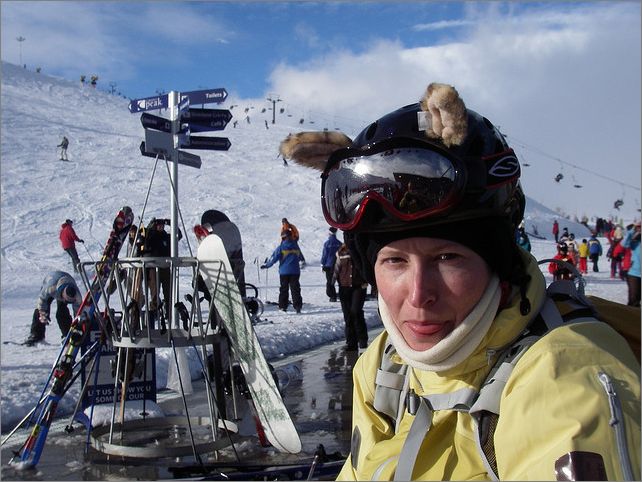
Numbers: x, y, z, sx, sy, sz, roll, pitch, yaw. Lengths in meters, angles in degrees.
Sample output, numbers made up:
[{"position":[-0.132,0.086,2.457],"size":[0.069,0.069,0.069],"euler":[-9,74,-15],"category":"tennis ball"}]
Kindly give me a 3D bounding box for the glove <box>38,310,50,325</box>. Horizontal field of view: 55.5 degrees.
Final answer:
[{"position":[-3.630,1.000,8.016],"size":[0.134,0.185,0.168],"euler":[-6,24,-7],"category":"glove"}]

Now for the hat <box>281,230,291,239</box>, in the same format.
[{"position":[-0.730,-0.131,12.808],"size":[0.187,0.177,0.142],"euler":[-30,57,-30],"category":"hat"}]

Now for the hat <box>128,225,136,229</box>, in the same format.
[{"position":[-1.867,-0.148,6.066],"size":[0.060,0.065,0.063],"euler":[-1,-1,13],"category":"hat"}]

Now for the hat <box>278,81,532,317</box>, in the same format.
[{"position":[0.367,-0.068,2.295],"size":[0.669,0.673,0.835],"euler":[-10,-19,39],"category":"hat"}]

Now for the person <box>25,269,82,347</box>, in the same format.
[{"position":[-3.556,0.759,8.127],"size":[0.656,1.328,1.305],"euler":[5,-2,-33],"category":"person"}]

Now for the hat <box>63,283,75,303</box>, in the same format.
[{"position":[-3.012,0.643,7.364],"size":[0.121,0.172,0.166],"euler":[-7,0,-14],"category":"hat"}]
